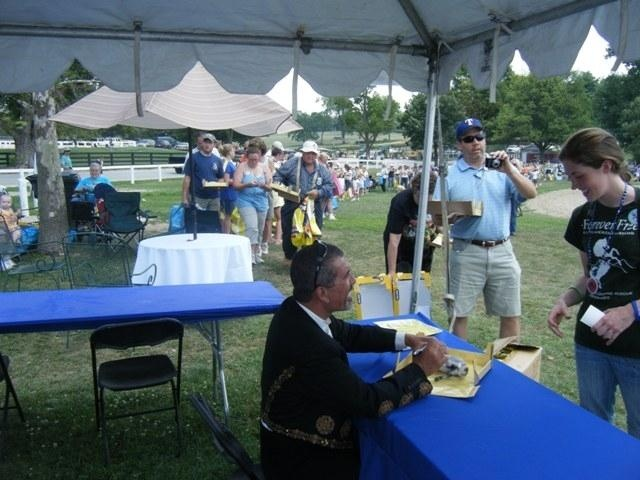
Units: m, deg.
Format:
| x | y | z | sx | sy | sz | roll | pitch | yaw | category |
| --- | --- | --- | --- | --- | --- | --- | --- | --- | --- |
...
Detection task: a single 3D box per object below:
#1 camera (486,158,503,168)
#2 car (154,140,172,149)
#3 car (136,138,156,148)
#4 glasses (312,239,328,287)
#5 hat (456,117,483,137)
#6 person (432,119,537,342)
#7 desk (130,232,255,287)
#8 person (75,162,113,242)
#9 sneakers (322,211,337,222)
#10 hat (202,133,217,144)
| x | y | z | sx | sy | sz | roll | pitch | yaw | category |
| --- | --- | --- | --- | --- | --- | --- | --- | --- | --- |
| 1.453 | -0.643 | 4.767 | 0.124 | 0.132 | 0.079 | -1 | 10 | -6 | camera |
| -21.772 | -13.387 | 79.696 | 1.421 | 1.354 | 2.404 | -5 | 18 | -33 | car |
| -27.457 | -15.529 | 89.906 | 2.205 | 1.076 | 4.620 | -5 | 16 | -19 | car |
| -0.019 | 0.138 | 3.533 | 0.047 | 0.224 | 0.150 | 11 | 4 | -8 | glasses |
| 1.310 | -0.993 | 5.083 | 0.146 | 0.133 | 0.215 | -14 | 2 | 0 | hat |
| 1.455 | 0.133 | 5.130 | 0.871 | 2.423 | 0.772 | 0 | 15 | 17 | person |
| -1.425 | 0.265 | 6.369 | 1.336 | 0.480 | 0.919 | -4 | 15 | -15 | desk |
| -4.455 | -0.854 | 11.234 | 0.602 | 1.394 | 0.703 | -2 | 0 | -1 | person |
| 0.298 | -0.708 | 16.957 | 0.167 | 0.245 | 0.530 | -3 | -8 | -21 | sneakers |
| -1.815 | -1.637 | 9.271 | 0.199 | 0.178 | 0.490 | -2 | 15 | -8 | hat |
